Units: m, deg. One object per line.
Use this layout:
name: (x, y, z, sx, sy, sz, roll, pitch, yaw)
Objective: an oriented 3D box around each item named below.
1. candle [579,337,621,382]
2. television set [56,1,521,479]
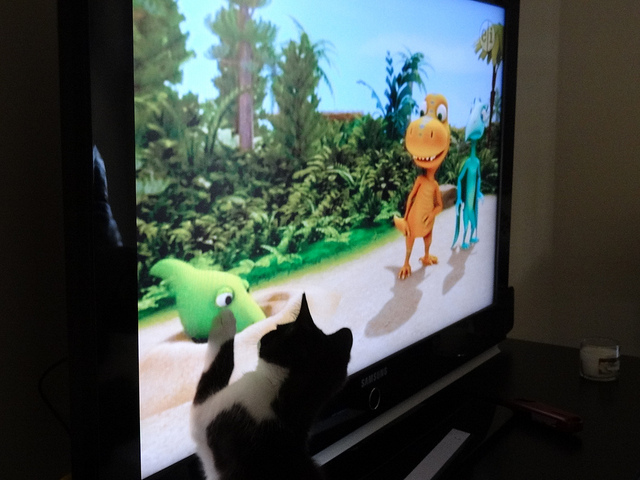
candle: (0.852, 0.357, 1.621, 0.107, 0.121, 0.116, 0, 4, 9)
television set: (-0.057, 0.007, 0.948, 0.118, 0.746, 0.913, 9, 15, 42)
